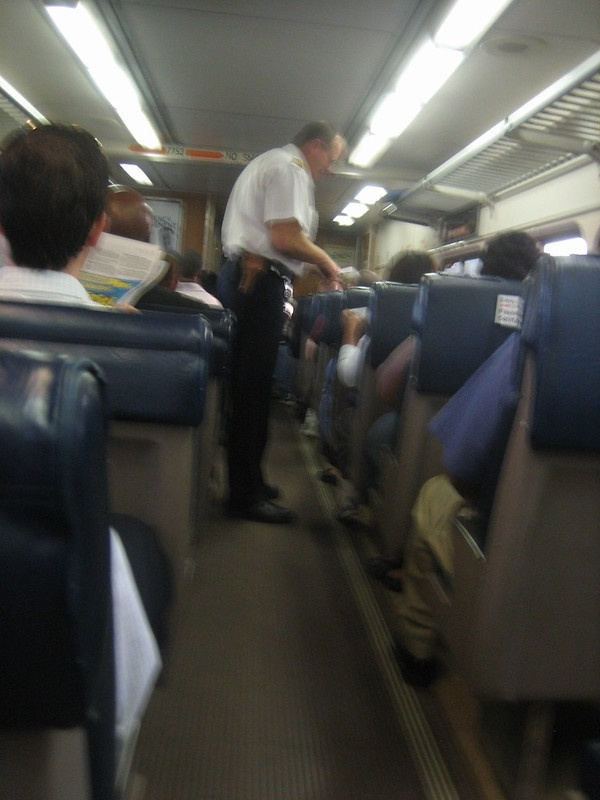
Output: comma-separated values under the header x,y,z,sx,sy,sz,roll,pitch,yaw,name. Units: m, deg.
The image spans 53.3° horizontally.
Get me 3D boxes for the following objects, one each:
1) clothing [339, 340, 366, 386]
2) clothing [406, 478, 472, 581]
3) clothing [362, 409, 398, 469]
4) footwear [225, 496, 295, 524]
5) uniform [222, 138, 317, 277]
x,y,z,sx,sy,sz,roll,pitch,yaw,name
0.217,-0.151,2.203,0.053,0.150,0.114,25,-28,-30,clothing
0.286,0.202,1.166,0.092,0.069,0.161,17,9,17,clothing
0.265,0.117,1.900,0.060,0.144,0.151,19,-25,-7,clothing
-0.134,0.367,2.067,0.193,0.075,0.098,1,0,-5,footwear
-0.109,-0.665,2.025,0.334,0.444,0.293,5,9,1,uniform
